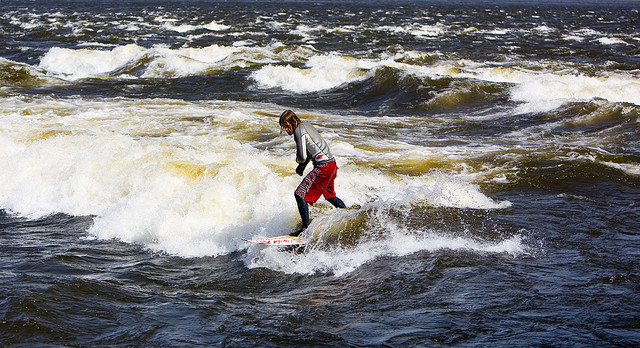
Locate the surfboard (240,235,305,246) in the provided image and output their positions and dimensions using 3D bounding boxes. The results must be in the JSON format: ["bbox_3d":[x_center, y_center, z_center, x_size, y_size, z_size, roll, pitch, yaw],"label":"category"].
[{"bbox_3d":[-1.511,2.200,27.531,3.528,0.213,0.317,1,45,-2],"label":"surfboard"}]

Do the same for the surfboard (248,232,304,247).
[{"bbox_3d":[-1.316,2.194,27.518,2.589,0.426,0.330,1,-15,22],"label":"surfboard"}]
